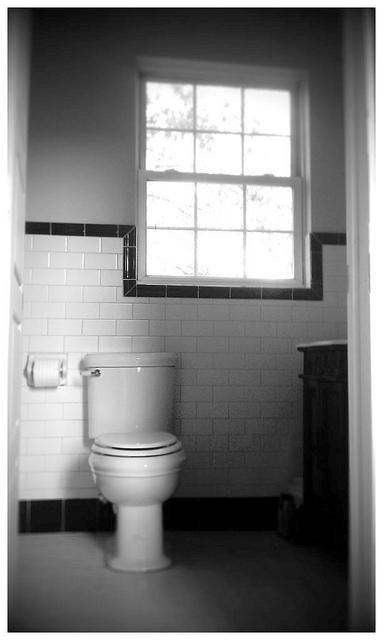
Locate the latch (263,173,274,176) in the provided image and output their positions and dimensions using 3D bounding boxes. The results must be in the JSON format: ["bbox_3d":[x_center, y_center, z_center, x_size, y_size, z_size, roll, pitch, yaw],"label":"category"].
[{"bbox_3d":[0.263,-0.500,2.143,0.036,0.012,0.006,0,-3,-4],"label":"latch"}]

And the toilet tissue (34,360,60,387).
[{"bbox_3d":[-0.427,0.156,1.840,0.074,0.072,0.070,-3,10,0],"label":"toilet tissue"}]

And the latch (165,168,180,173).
[{"bbox_3d":[-0.068,-0.499,2.080,0.042,0.017,0.013,3,4,-5],"label":"latch"}]

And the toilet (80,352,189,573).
[{"bbox_3d":[-0.180,0.397,1.818,0.317,0.576,0.425,2,4,-5],"label":"toilet"}]
